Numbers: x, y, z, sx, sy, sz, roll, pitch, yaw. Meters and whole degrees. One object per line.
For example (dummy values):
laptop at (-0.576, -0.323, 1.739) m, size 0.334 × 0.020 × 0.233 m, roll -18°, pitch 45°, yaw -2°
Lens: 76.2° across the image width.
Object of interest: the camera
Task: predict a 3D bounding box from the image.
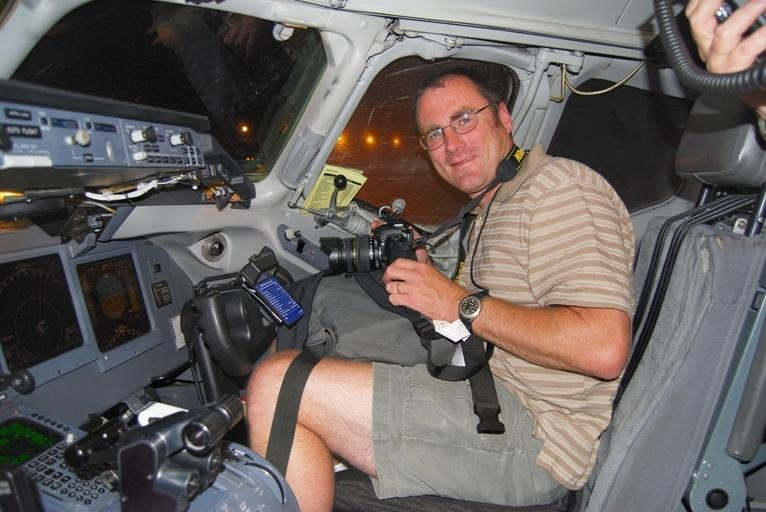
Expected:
camera at (-0.056, -0.050, 2.335) m, size 0.304 × 0.164 × 0.279 m, roll -1°, pitch 6°, yaw 7°
